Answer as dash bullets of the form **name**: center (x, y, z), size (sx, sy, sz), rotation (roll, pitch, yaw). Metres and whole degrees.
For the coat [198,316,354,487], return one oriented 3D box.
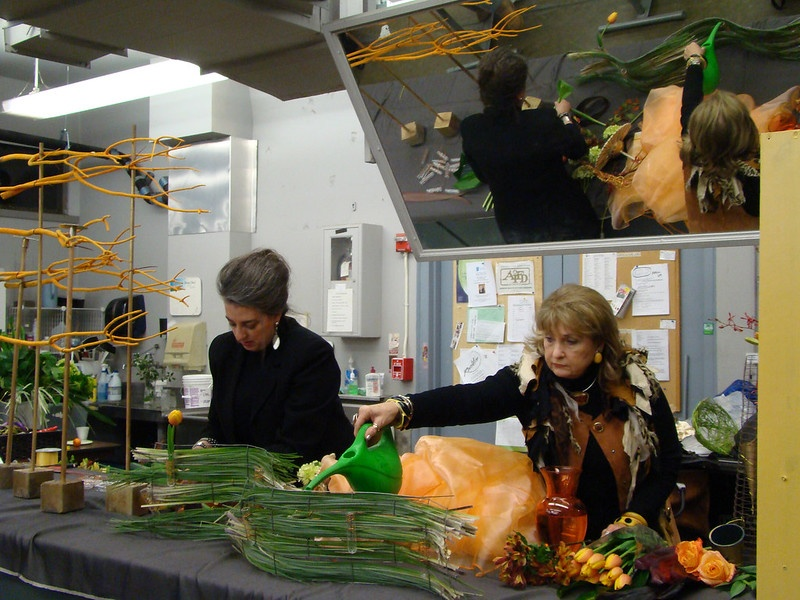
- **coat**: center (-0.469, 0.334, 2.430), size (0.459, 0.482, 0.599), rotation (5, 10, 23)

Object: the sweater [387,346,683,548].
- **sweater**: center (0.473, 0.515, 2.201), size (0.815, 0.963, 0.372), rotation (-8, 34, 19)

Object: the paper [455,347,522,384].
- **paper**: center (0.504, 0.366, 3.882), size (0.345, 0.340, 0.018), rotation (-12, -20, 21)

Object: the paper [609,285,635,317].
- **paper**: center (1.296, 0.010, 3.972), size (0.039, 0.145, 0.141), rotation (28, 8, -20)

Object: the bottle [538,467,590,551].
- **bottle**: center (0.392, 0.500, 1.663), size (0.115, 0.175, 0.111), rotation (0, -3, 0)

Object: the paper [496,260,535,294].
- **paper**: center (0.773, -0.144, 4.531), size (0.230, 0.199, 0.048), rotation (-1, 1, 24)

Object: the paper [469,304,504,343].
- **paper**: center (0.592, 0.161, 4.604), size (0.262, 0.250, 0.037), rotation (-1, 0, 36)

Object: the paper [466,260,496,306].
- **paper**: center (0.555, -0.109, 4.620), size (0.298, 0.388, 0.020), rotation (-4, -4, 32)

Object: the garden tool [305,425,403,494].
- **garden tool**: center (-0.127, 0.416, 1.823), size (0.152, 0.215, 0.230), rotation (-4, 7, 45)

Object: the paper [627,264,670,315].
- **paper**: center (1.492, -0.056, 4.083), size (0.282, 0.379, 0.041), rotation (-5, -10, 40)

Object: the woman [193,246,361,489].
- **woman**: center (-0.488, 0.273, 2.388), size (0.619, 0.845, 0.514), rotation (-14, 15, -39)
